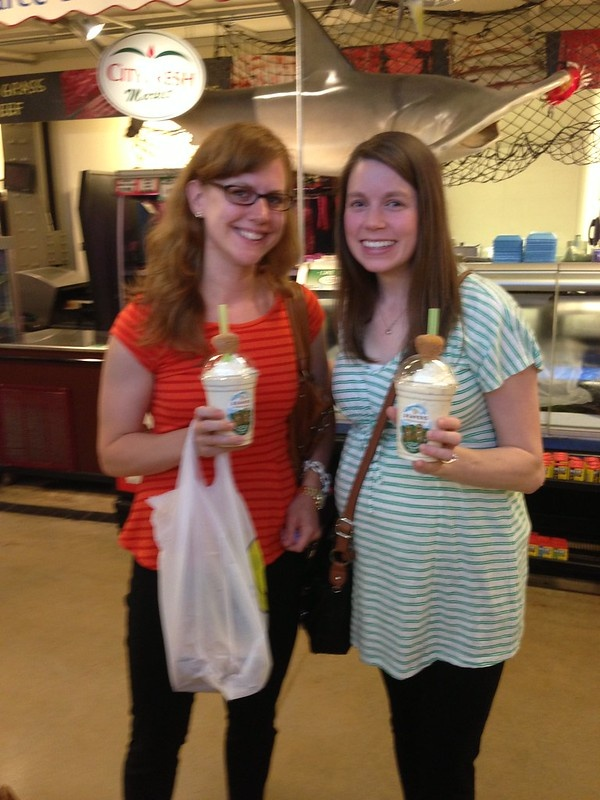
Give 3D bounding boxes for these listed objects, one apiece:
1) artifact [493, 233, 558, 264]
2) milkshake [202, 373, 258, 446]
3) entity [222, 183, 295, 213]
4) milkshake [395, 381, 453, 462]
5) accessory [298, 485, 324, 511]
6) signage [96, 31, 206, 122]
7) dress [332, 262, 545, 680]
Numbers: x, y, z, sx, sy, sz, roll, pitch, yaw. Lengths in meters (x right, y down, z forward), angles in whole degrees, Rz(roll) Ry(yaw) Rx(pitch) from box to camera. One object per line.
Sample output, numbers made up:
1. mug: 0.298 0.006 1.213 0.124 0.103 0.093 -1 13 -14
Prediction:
1. artifact: 1.115 -0.750 3.267 0.245 0.087 0.224 3 17 13
2. milkshake: -0.143 0.006 1.223 0.136 0.147 0.117 -1 15 -1
3. entity: -0.081 -0.414 1.340 0.168 0.059 0.068 -16 21 -38
4. milkshake: 0.220 0.043 1.141 0.118 0.123 0.102 5 -2 13
5. accessory: 0.023 0.212 1.425 0.047 0.021 0.055 -16 24 -30
6. signage: -0.956 -2.044 4.128 0.074 0.526 0.779 35 38 31
7. dress: 0.266 0.147 1.294 0.404 0.761 0.358 -2 18 6
